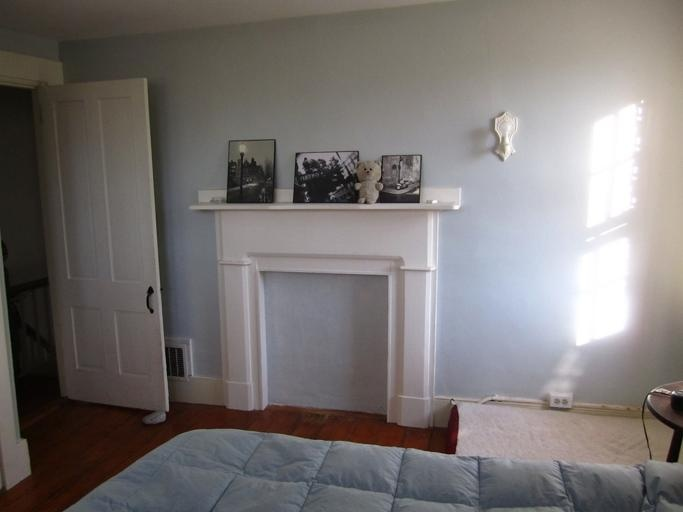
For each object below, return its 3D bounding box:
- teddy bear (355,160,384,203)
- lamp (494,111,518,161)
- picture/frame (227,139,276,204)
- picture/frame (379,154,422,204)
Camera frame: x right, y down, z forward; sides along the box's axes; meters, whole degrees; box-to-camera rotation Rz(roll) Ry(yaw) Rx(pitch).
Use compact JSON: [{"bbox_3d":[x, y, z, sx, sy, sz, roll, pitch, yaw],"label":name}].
[{"bbox_3d":[0.201,-0.544,3.915,0.198,0.317,0.129,1,9,2],"label":"teddy bear"},{"bbox_3d":[1.167,-0.856,3.765,0.175,0.342,0.060,4,10,18],"label":"lamp"},{"bbox_3d":[-0.696,-0.677,4.159,0.469,0.609,0.043,2,3,9],"label":"picture/frame"},{"bbox_3d":[0.450,-0.582,3.927,0.346,0.430,0.030,2,2,10],"label":"picture/frame"}]
